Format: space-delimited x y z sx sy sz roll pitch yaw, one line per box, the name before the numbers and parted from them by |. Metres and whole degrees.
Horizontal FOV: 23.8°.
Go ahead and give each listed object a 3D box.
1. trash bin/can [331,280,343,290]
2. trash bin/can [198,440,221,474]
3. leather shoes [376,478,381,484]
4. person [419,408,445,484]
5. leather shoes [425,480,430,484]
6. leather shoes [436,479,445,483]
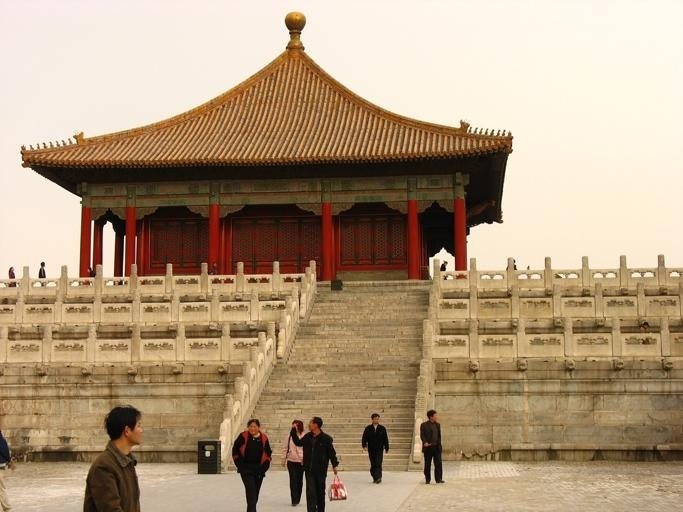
trash bin/can | -0.130 0.940 52.490 0.407 0.374 0.275 0 -9 1
trash bin/can | -3.449 5.098 40.998 0.772 0.893 0.756 0 -7 0
leather shoes | 0.921 5.458 39.375 0.048 0.134 0.091 2 4 -7
person | 2.219 4.649 39.506 0.570 1.784 0.886 1 -9 1
leather shoes | 2.088 5.462 39.157 0.069 0.081 0.119 -2 -10 17
leather shoes | 2.409 5.436 39.092 0.223 0.144 0.072 -4 0 7
